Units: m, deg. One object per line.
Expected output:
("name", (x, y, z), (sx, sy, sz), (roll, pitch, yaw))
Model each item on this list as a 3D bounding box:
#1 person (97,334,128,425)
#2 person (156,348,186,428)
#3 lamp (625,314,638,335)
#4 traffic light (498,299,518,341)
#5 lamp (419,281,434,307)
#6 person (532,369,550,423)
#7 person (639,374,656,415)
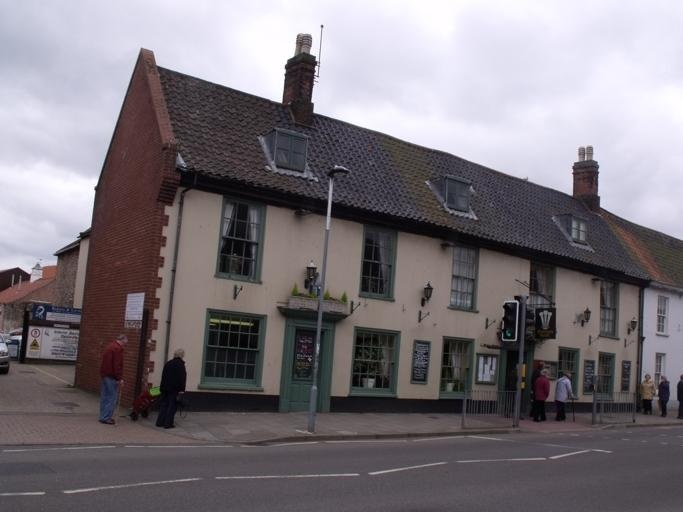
("person", (-6.156, 3.265, 16.008), (0.538, 2.313, 0.853), (6, -6, -21))
("person", (-4.553, 3.550, 16.097), (0.616, 2.063, 0.610), (7, -7, -32))
("lamp", (14.455, 3.425, 29.691), (0.223, 0.938, 1.063), (-2, -9, 44))
("traffic light", (5.635, 2.106, 19.844), (0.557, 1.331, 0.521), (1, -6, 21))
("lamp", (3.375, 1.445, 23.128), (0.528, 1.013, 0.379), (8, -7, -36))
("person", (7.749, 5.410, 23.229), (0.506, 1.938, 0.867), (1, -6, 19))
("person", (14.930, 6.735, 29.183), (0.590, 1.907, 1.084), (0, -7, 27))
